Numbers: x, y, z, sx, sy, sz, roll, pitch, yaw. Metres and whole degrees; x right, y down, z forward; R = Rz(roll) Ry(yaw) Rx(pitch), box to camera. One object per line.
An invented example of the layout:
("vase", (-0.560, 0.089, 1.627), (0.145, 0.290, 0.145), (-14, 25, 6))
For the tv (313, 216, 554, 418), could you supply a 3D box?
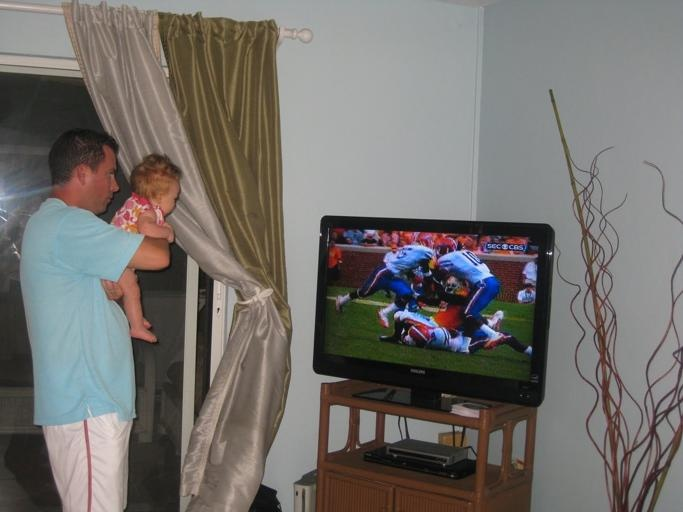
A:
("tv", (0.484, 0.306, 3.453), (0.960, 0.740, 0.250), (4, 5, 18))
